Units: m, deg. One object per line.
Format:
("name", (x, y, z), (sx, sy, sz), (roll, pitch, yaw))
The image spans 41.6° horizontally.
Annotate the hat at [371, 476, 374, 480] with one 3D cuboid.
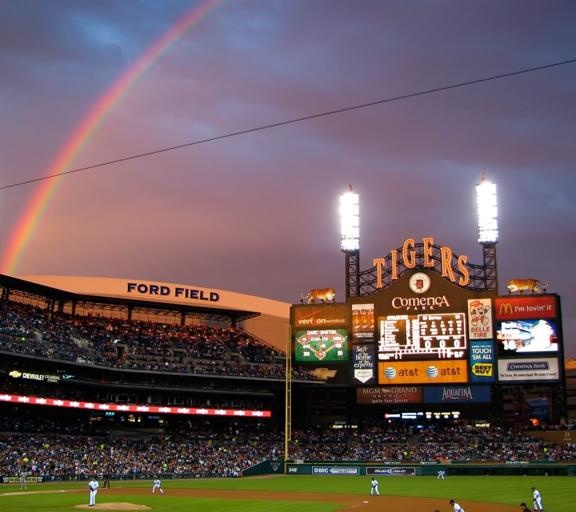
("hat", (6.276, 16.337, 55.981), (0.222, 0.281, 0.085), (-3, 17, 1))
